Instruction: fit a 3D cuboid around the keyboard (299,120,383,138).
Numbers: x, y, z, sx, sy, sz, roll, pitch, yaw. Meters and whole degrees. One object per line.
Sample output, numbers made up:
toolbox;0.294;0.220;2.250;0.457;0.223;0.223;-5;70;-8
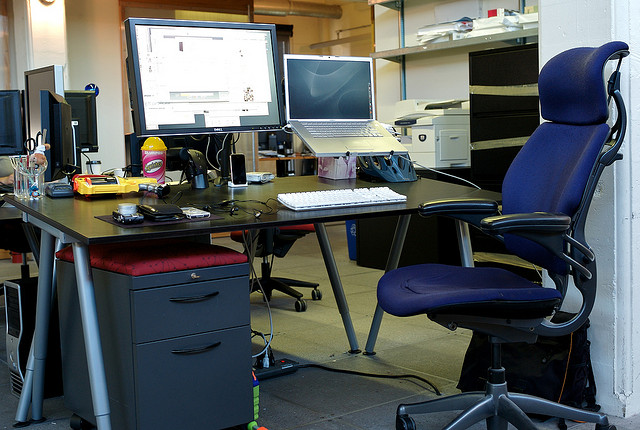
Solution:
keyboard;0.118;-0.469;2.855;0.416;0.098;0.148;-4;9;-22

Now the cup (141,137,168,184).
cup;-0.861;-0.282;2.732;0.123;0.237;0.111;-4;9;-19

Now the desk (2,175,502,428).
desk;-0.339;0.435;2.485;1.378;0.582;0.711;-5;8;-31

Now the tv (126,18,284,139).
tv;-0.570;-0.674;2.583;0.766;0.479;0.087;-5;4;-23

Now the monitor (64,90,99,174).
monitor;-1.771;-0.633;3.992;0.124;0.580;0.385;1;11;-16

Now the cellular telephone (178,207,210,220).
cellular telephone;-0.509;-0.005;2.119;0.116;0.030;0.161;-3;8;-14

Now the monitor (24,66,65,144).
monitor;-1.877;-0.736;3.423;0.442;0.454;0.048;4;-9;36

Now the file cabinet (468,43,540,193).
file cabinet;1.586;-0.666;4.271;0.511;1.303;0.617;-7;13;-33
